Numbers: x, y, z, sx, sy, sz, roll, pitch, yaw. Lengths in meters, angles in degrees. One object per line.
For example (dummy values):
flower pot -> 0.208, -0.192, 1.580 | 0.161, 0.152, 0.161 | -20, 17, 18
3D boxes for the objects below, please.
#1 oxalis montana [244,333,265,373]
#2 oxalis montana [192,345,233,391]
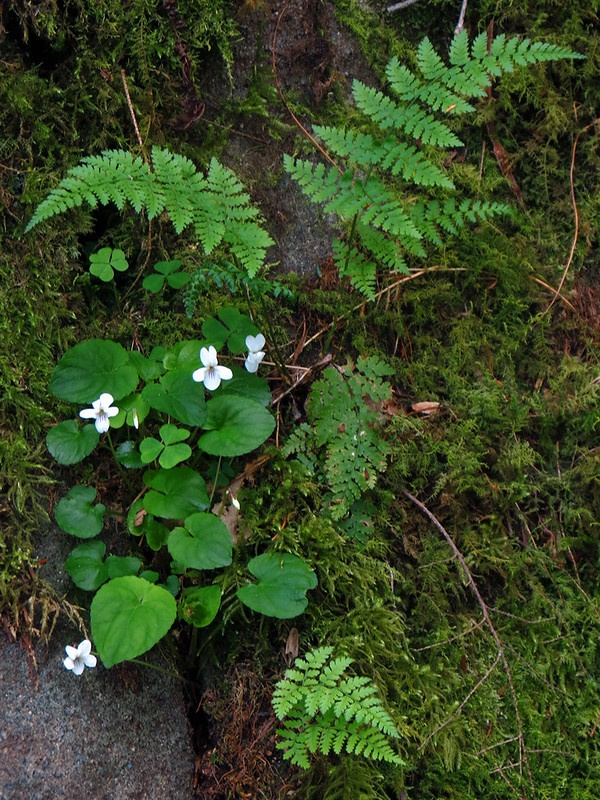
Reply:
oxalis montana -> -0.189, -0.200, 2.926 | 0.086, 0.148, 0.049 | -14, 24, -5
oxalis montana -> -0.334, -0.125, 2.742 | 0.143, 0.129, 0.153 | 9, 58, 0
